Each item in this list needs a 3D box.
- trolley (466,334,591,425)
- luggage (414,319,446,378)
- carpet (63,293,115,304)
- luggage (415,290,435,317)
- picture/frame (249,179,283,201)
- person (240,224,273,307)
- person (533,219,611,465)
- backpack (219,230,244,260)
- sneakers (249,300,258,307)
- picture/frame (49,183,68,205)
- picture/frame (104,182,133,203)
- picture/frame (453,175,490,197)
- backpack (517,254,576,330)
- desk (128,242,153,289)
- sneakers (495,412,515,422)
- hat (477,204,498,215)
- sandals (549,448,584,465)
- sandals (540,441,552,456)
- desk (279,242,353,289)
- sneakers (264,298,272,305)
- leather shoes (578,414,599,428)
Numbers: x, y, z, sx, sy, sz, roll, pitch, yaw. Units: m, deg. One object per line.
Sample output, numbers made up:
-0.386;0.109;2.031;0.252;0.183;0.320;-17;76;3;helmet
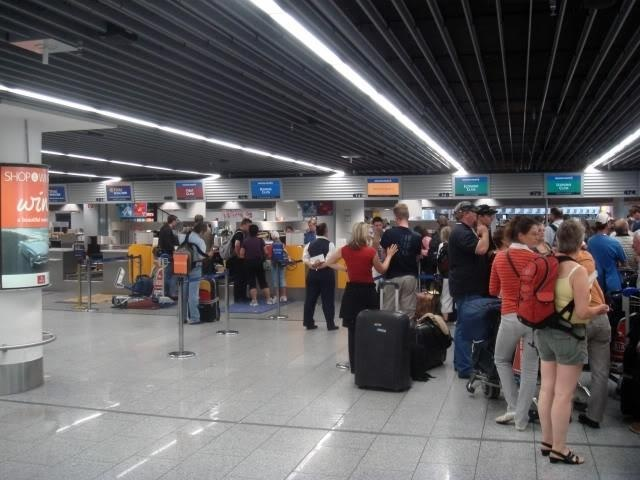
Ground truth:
2.076;1.452;5.323;0.998;0.808;0.597;9;-30;11;trolley
1.405;1.390;6.075;0.432;0.640;0.784;0;-3;36;luggage
-6.435;1.634;12.985;1.264;0.083;1.792;-2;2;-22;carpet
1.572;0.917;6.978;0.411;0.382;0.288;4;9;19;luggage
-2.343;-2.203;20.353;1.116;0.642;0.106;0;5;0;picture/frame
-1.610;0.620;11.783;0.731;2.020;1.370;-2;2;-7;person
2.022;0.805;3.803;0.502;1.945;0.512;-1;3;22;person
-2.212;0.128;11.815;0.501;0.754;0.808;-3;2;-25;backpack
-1.678;1.595;11.776;0.112;0.124;0.199;-1;-12;0;sneakers
-12.786;-2.267;22.984;0.918;0.973;0.729;-2;2;-8;picture/frame
-9.288;-2.206;21.747;1.127;0.675;0.139;0;-3;10;picture/frame
6.100;-2.190;18.826;1.090;0.627;0.100;1;-6;8;picture/frame
1.893;0.458;3.894;0.522;0.605;0.486;2;-9;0;backpack
-5.025;0.652;13.109;0.788;1.060;0.522;-2;2;-4;desk
1.772;1.716;4.549;0.083;0.080;0.208;-4;-2;-14;sneakers
2.060;-0.378;5.820;0.206;0.089;0.129;3;2;-5;hat
1.934;1.727;3.760;0.291;0.098;0.102;-1;-4;2;sandals
1.847;1.719;3.862;0.055;0.050;0.138;2;17;9;sandals
-0.217;0.748;11.835;2.284;1.402;1.153;1;0;14;desk
-1.314;1.546;11.875;0.201;0.176;0.458;-1;-7;-2;sneakers
2.511;1.702;4.411;0.074;0.071;0.173;-4;4;-12;leather shoes
